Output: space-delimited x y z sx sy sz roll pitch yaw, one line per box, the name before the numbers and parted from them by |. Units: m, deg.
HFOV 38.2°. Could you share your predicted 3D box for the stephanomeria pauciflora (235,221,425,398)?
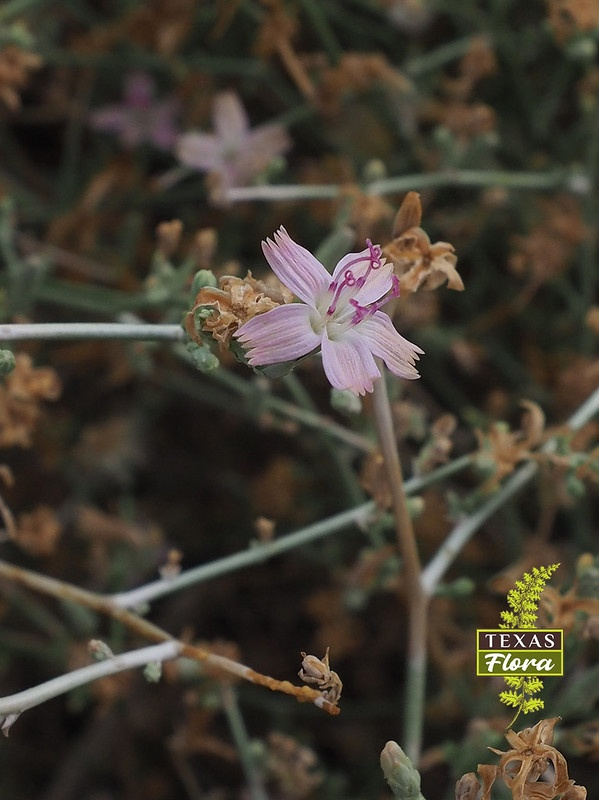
stephanomeria pauciflora | 0.010 -0.053 0.633 0.141 0.064 0.116 23 56 -21
